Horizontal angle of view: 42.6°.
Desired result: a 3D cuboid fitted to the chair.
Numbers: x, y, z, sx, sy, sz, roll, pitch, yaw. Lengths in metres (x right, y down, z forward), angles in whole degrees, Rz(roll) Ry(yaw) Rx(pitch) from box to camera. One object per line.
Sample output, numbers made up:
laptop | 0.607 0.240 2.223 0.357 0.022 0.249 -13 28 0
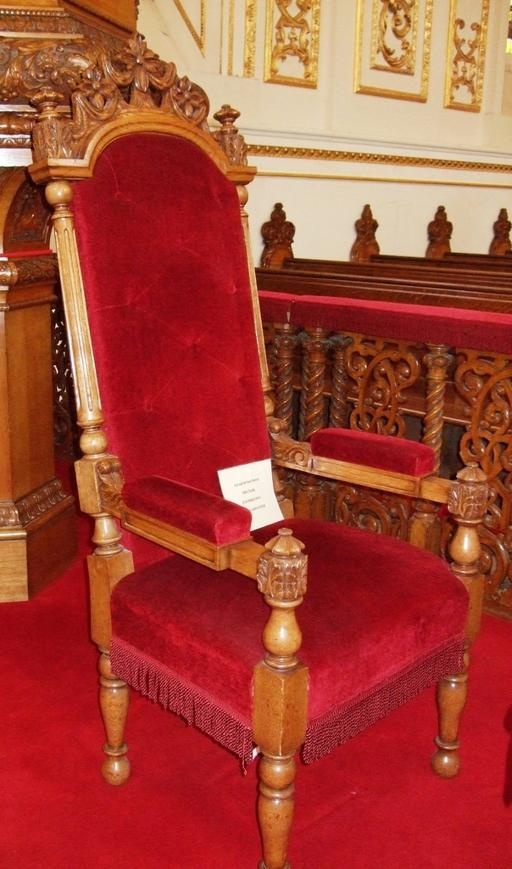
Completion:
chair | -0.012 -0.027 1.198 0.585 1.364 0.729 -9 14 -42
